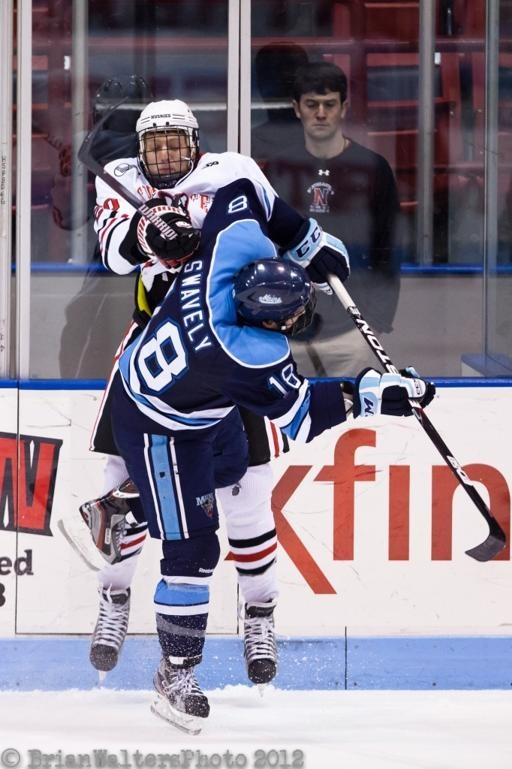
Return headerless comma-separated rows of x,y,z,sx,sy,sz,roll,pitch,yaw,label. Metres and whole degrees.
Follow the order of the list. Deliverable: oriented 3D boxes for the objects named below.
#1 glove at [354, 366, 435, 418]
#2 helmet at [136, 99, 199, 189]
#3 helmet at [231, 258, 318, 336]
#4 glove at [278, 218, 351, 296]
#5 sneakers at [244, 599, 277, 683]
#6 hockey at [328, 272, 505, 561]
0.335,0.022,2.389,0.195,0.115,0.092,1,1,-2,glove
-0.221,-0.663,2.702,0.181,0.235,0.242,-4,28,5,helmet
0.033,-0.196,2.435,0.209,0.162,0.165,-2,-26,-7,helmet
0.182,-0.354,2.797,0.203,0.081,0.153,35,-35,6,glove
0.015,0.783,2.958,0.096,0.251,0.180,0,-20,1,sneakers
0.471,0.129,2.977,0.056,0.950,0.202,-28,-8,-11,hockey
